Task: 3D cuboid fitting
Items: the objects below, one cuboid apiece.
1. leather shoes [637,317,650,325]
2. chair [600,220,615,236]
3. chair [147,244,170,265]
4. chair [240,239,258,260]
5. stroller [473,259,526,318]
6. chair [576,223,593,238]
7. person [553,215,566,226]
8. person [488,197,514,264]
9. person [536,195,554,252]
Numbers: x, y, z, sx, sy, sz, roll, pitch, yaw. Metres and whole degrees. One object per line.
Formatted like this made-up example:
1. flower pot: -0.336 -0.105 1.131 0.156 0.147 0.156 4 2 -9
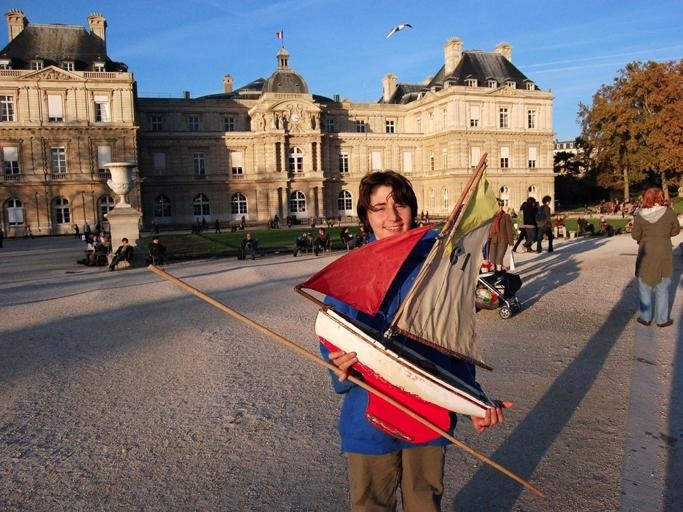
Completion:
1. leather shoes: 4.978 1.073 10.265 0.067 0.106 0.217 -2 34 -15
2. chair: 11.640 -1.188 27.261 0.457 0.797 1.212 -23 -10 27
3. chair: -6.200 -0.022 21.094 0.592 0.954 0.641 -3 4 -37
4. chair: -3.377 -0.233 22.855 0.545 0.923 0.748 0 -5 -3
5. stroller: 2.876 0.576 11.769 1.139 1.328 1.048 3 6 31
6. chair: 10.458 -1.086 26.830 0.564 0.993 0.720 -1 -2 3
7. person: 8.972 -1.446 25.743 0.478 0.314 0.716 3 6 -10
8. person: 3.624 -0.453 14.321 0.558 1.666 0.399 7 36 25
9. person: 6.567 -1.030 20.092 0.490 1.895 0.577 0 15 19
